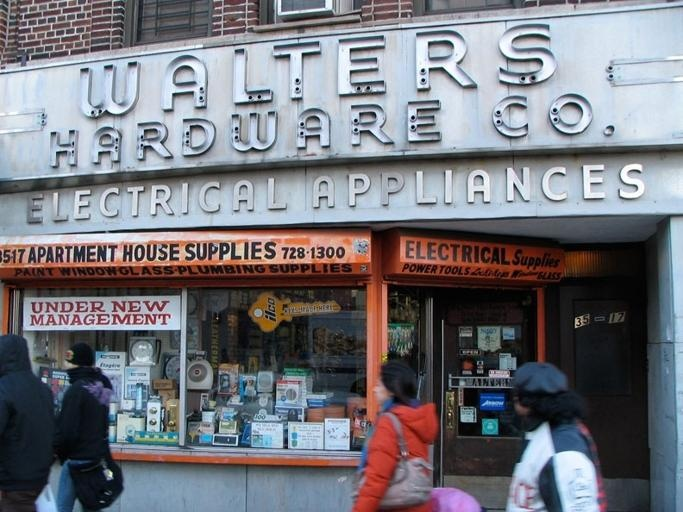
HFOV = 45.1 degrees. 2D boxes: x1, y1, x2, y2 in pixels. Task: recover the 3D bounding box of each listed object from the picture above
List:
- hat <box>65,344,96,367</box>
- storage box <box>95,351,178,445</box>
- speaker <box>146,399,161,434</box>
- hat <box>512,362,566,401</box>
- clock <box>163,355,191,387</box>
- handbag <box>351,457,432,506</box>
[{"bbox_3d":[-2.799,1.059,8.838,0.258,0.274,0.225,10,-9,-33],"label":"hat"},{"bbox_3d":[-2.581,1.860,10.513,1.019,1.103,0.382,-2,-17,1],"label":"storage box"},{"bbox_3d":[-2.465,2.090,10.784,0.207,0.422,0.068,0,-9,-5],"label":"speaker"},{"bbox_3d":[1.662,0.987,6.812,0.287,0.119,0.316,12,20,41],"label":"hat"},{"bbox_3d":[-2.214,1.525,10.928,0.336,0.381,0.107,1,-2,26],"label":"clock"},{"bbox_3d":[0.577,2.023,7.311,0.505,0.441,0.140,2,-10,-18],"label":"handbag"}]
